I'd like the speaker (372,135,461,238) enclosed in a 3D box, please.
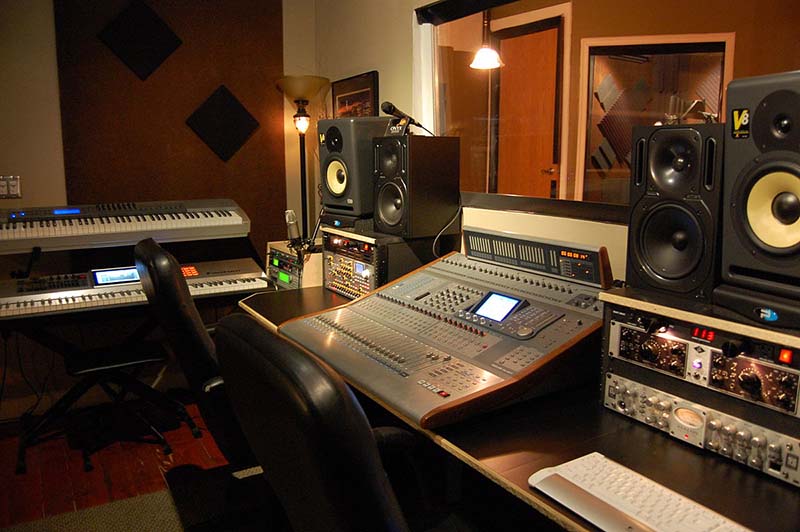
[{"bbox_3d":[0.086,-0.461,3.301,0.494,0.533,0.512,-1,10,3],"label":"speaker"}]

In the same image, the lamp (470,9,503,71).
[{"bbox_3d":[0.567,-1.417,3.665,0.114,0.348,0.273,8,18,43],"label":"lamp"}]

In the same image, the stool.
[{"bbox_3d":[-1.969,0.966,4.065,0.719,0.759,0.508,-8,12,-43],"label":"stool"}]
